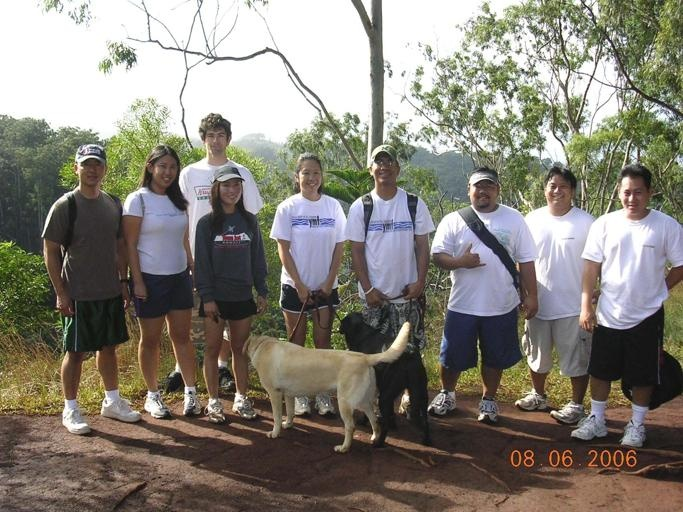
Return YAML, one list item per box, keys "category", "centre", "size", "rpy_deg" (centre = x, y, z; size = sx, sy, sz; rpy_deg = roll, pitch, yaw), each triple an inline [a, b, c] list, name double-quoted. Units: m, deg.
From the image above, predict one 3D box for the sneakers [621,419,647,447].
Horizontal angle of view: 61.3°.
- category: "sneakers"
  centre: [3.059, 1.871, 6.066]
  size: [0.235, 0.239, 0.365]
  rpy_deg: [3, 6, 28]

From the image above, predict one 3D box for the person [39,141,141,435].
- category: "person"
  centre: [-2.633, 0.333, 6.141]
  size: [0.880, 3.023, 0.457]
  rpy_deg: [-2, 6, -29]

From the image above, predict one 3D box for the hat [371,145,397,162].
- category: "hat"
  centre: [0.481, -1.138, 6.397]
  size: [0.267, 0.202, 0.306]
  rpy_deg: [1, 5, 0]

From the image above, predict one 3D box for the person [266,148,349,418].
- category: "person"
  centre: [-0.393, 0.352, 6.892]
  size: [0.898, 3.051, 0.865]
  rpy_deg: [0, 16, -8]

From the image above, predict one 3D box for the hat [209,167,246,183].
- category: "hat"
  centre: [-1.305, -0.917, 6.554]
  size: [0.257, 0.163, 0.380]
  rpy_deg: [-1, -2, -18]

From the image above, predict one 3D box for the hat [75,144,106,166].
- category: "hat"
  centre: [-2.675, -1.090, 6.206]
  size: [0.287, 0.235, 0.537]
  rpy_deg: [-2, 6, -24]

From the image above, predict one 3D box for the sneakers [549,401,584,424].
- category: "sneakers"
  centre: [2.715, 1.866, 6.886]
  size: [0.411, 0.231, 0.184]
  rpy_deg: [-1, 2, -10]

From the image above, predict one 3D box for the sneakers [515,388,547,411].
- category: "sneakers"
  centre: [2.396, 1.827, 7.345]
  size: [0.396, 0.257, 0.202]
  rpy_deg: [2, 0, 0]

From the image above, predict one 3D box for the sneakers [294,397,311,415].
- category: "sneakers"
  centre: [-0.455, 1.763, 6.763]
  size: [0.217, 0.267, 0.645]
  rpy_deg: [1, -12, -4]

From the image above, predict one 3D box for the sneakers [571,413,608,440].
- category: "sneakers"
  centre: [2.662, 1.874, 6.308]
  size: [0.478, 0.256, 0.189]
  rpy_deg: [4, -10, -30]
